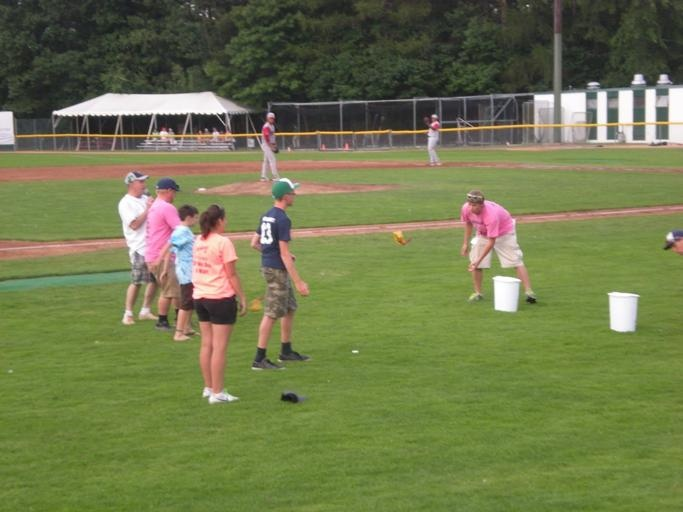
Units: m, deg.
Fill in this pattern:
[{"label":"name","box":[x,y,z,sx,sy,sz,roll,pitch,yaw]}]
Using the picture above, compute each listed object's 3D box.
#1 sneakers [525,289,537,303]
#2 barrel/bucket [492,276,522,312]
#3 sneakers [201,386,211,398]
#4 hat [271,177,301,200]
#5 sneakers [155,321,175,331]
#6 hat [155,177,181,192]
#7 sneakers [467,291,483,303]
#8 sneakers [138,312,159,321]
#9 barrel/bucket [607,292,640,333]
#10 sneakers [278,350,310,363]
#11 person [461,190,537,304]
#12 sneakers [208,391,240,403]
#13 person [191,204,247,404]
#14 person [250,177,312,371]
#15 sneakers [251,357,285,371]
[{"label":"sneakers","box":[3.327,0.727,21.054,0.129,0.121,0.307,1,8,20]},{"label":"barrel/bucket","box":[2.984,0.621,20.911,0.732,0.630,0.533,-2,3,-37]},{"label":"sneakers","box":[-2.071,2.078,18.108,0.119,0.108,0.196,0,-1,-2]},{"label":"hat","box":[-0.855,-1.110,18.697,0.542,0.246,0.344,-24,35,-30]},{"label":"sneakers","box":[-3.070,1.159,20.381,0.365,0.189,0.125,-1,12,-12]},{"label":"hat","box":[-2.889,-1.240,20.197,0.418,0.202,0.294,-7,13,-39]},{"label":"sneakers","box":[2.313,0.719,21.340,0.374,0.128,0.130,-5,11,33]},{"label":"sneakers","box":[-3.424,1.036,20.844,0.403,0.205,0.126,0,8,-1]},{"label":"barrel/bucket","box":[4.679,0.919,19.808,0.461,0.667,0.430,-3,5,0]},{"label":"sneakers","box":[-0.785,1.618,19.032,0.541,0.150,0.171,0,-1,-3]},{"label":"person","box":[2.724,-0.184,21.206,1.178,2.053,1.138,-3,5,5]},{"label":"sneakers","box":[-1.808,2.131,17.984,0.495,0.160,0.168,-1,4,-11]},{"label":"person","box":[-1.886,0.709,17.928,0.800,3.001,0.535,-3,5,5]},{"label":"person","box":[-1.041,0.258,18.981,0.911,3.015,1.178,-4,5,-2]},{"label":"sneakers","box":[-1.191,1.728,18.901,0.577,0.174,0.183,-1,-1,0]}]
